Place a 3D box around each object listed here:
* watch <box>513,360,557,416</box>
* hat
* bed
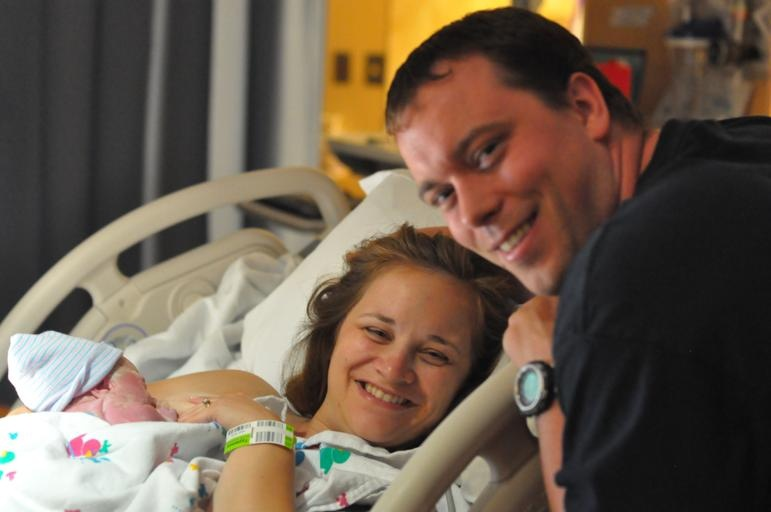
[{"bbox_3d":[0.261,0.232,1.323,0.027,0.087,0.086,8,-35,-10],"label":"watch"},{"bbox_3d":[-0.717,0.259,1.675,0.232,0.160,0.111,1,8,-2],"label":"hat"},{"bbox_3d":[-0.246,0.313,1.630,0.938,0.618,0.650,-24,26,-35],"label":"bed"}]
